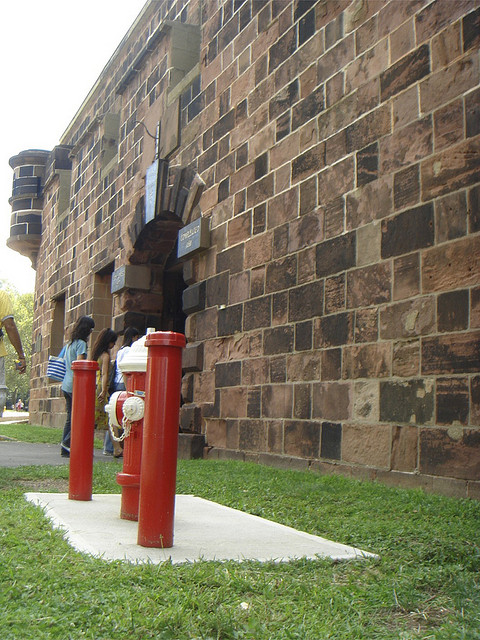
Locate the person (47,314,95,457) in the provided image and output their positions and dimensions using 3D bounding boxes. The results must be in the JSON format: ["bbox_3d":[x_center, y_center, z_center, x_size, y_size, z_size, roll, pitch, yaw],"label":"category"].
[{"bbox_3d":[-2.172,0.823,7.905,0.449,1.825,0.949,7,-9,-28],"label":"person"}]

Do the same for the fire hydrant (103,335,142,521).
[{"bbox_3d":[-0.667,0.593,3.509,0.180,0.990,0.378,5,-8,-16],"label":"fire hydrant"}]
